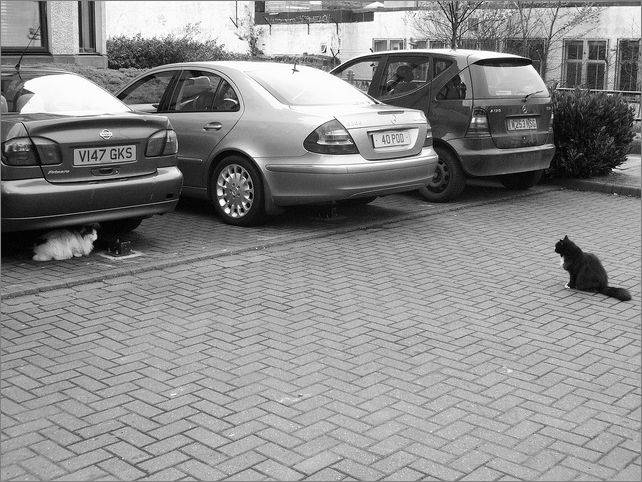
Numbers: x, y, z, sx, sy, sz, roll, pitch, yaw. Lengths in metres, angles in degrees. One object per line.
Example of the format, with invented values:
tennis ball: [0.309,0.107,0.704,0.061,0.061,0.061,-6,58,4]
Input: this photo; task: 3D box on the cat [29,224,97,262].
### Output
cat: [-2.940,-0.011,5.751,0.414,0.294,0.705,32,29,34]

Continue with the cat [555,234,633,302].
cat: [2.749,0.288,5.138,0.317,0.453,0.951,-7,17,-19]

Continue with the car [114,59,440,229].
car: [-0.309,-1.513,7.251,5.209,1.459,2.178,12,17,35]
